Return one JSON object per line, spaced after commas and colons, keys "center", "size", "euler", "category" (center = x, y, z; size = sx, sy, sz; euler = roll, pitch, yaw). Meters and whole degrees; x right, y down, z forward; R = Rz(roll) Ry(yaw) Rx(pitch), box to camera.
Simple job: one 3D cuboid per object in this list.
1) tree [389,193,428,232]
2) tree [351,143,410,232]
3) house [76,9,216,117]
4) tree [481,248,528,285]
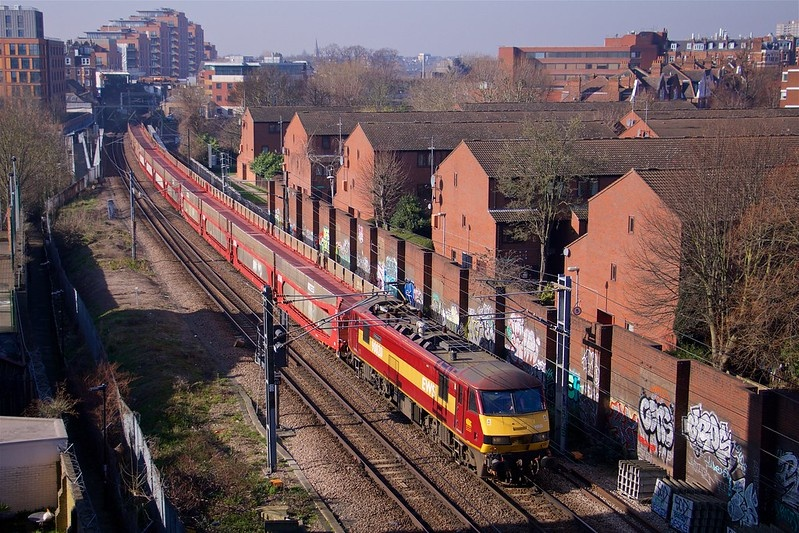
{"center": [0.772, -3.909, 70.341], "size": [1.966, 3.191, 2.814], "euler": [2, 6, -9], "category": "tree"}
{"center": [-0.322, -5.870, 71.188], "size": [4.264, 7.672, 4.390], "euler": [0, 5, -14], "category": "tree"}
{"center": [-59.389, -52.551, 226.328], "size": [25.580, 16.000, 61.375], "euler": [-4, 16, -12], "category": "house"}
{"center": [6.640, 0.083, 59.217], "size": [1.997, 1.501, 2.289], "euler": [1, 17, 4], "category": "tree"}
